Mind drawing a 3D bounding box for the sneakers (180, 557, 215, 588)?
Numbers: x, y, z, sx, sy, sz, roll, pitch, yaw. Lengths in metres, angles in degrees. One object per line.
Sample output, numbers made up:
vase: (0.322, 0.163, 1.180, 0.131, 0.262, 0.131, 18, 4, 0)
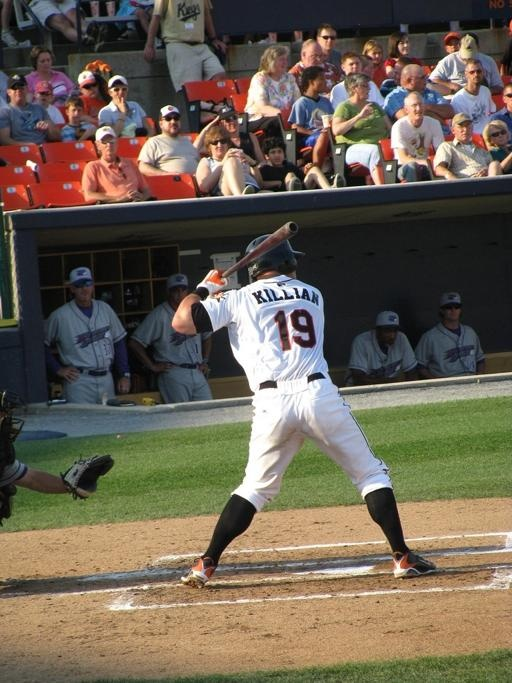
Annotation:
sneakers: (-0.233, 0.915, 4.023, 0.097, 0.077, 0.203, -50, 4, -14)

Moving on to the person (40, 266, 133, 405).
person: (-1.546, -0.056, 9.069, 0.647, 1.213, 0.734, -4, 8, 3)

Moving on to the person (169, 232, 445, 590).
person: (0.166, 0.271, 4.141, 1.006, 1.357, 0.544, -4, 8, 5)

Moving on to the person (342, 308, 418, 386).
person: (1.219, 0.127, 9.872, 0.850, 0.804, 0.721, 6, 13, 13)

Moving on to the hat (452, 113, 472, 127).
hat: (1.911, -2.049, 9.335, 0.169, 0.135, 0.238, -3, 6, 11)

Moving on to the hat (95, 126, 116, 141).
hat: (-1.339, -1.822, 8.879, 0.140, 0.134, 0.225, -6, 7, -13)

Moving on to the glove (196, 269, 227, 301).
glove: (-0.193, -0.238, 4.264, 0.161, 0.095, 0.063, -26, -16, -39)

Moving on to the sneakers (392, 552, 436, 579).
sneakers: (0.622, 0.877, 4.023, 0.223, 0.082, 0.075, -4, 7, -32)

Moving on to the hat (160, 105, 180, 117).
hat: (-0.817, -2.141, 9.424, 0.138, 0.121, 0.235, -5, 6, -10)

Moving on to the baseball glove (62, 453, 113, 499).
baseball glove: (-0.745, 0.565, 4.435, 0.236, 0.092, 0.175, -17, -30, -40)

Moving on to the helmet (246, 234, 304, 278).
helmet: (0.089, -0.379, 4.292, 0.254, 0.133, 0.170, -21, 9, -31)

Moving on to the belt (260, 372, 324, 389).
belt: (0.128, 0.156, 3.961, 0.134, 0.027, 0.108, -19, -4, 40)
